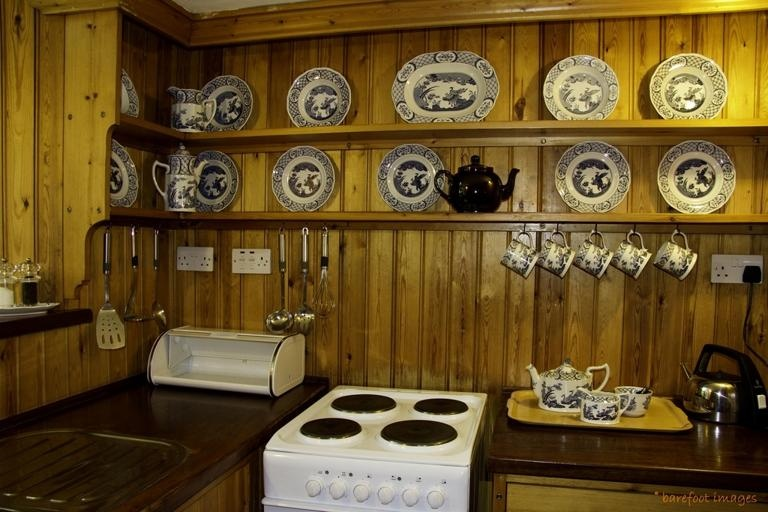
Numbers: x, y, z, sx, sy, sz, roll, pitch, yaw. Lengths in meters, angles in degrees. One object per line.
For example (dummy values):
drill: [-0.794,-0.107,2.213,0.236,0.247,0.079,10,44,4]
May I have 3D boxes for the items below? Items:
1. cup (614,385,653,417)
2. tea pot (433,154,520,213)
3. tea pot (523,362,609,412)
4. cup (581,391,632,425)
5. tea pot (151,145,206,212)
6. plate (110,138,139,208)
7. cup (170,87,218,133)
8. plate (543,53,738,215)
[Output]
cup: [0.982,0.559,2.413,0.100,0.086,0.123,-1,-11,6]
tea pot: [0.391,-0.275,2.506,0.352,0.260,0.228,-1,3,-3]
tea pot: [0.724,0.516,2.459,0.300,0.195,0.195,0,-7,8]
cup: [0.848,0.566,2.353,0.152,0.092,0.120,1,-1,7]
tea pot: [-0.843,-0.334,2.750,0.307,0.365,0.184,-2,5,-13]
plate: [-1.099,-0.344,2.604,0.033,0.215,0.204,1,14,19]
cup: [-0.848,-0.620,2.745,0.221,0.242,0.173,2,3,-24]
plate: [1.079,-0.503,2.542,0.586,0.529,0.029,-4,-1,11]
